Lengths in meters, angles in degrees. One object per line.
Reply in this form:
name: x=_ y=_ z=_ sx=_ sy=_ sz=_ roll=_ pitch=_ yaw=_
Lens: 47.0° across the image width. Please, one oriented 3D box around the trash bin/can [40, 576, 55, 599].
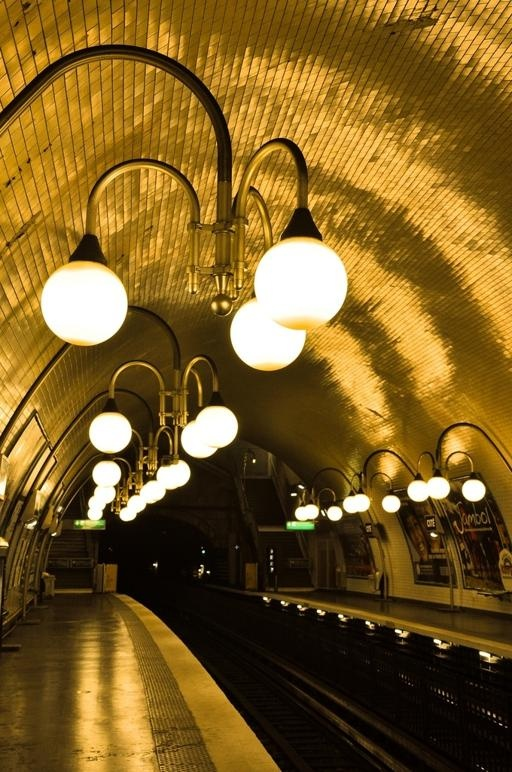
trash bin/can: x=-8.241 y=7.751 z=22.800 sx=0.612 sy=0.924 sz=0.624 roll=-2 pitch=-16 yaw=5
